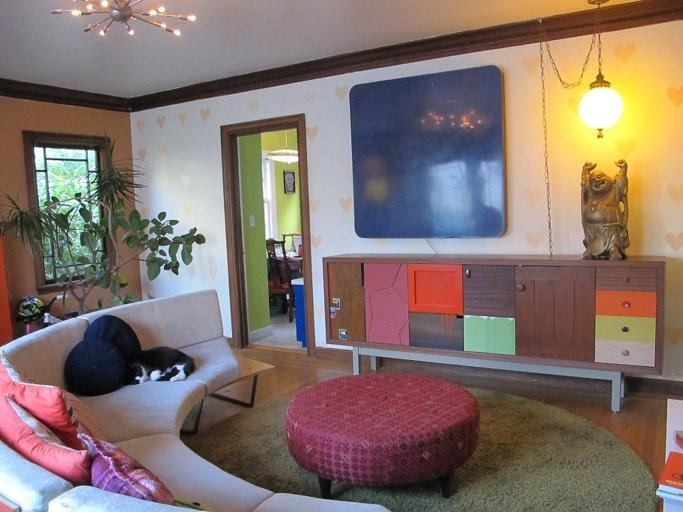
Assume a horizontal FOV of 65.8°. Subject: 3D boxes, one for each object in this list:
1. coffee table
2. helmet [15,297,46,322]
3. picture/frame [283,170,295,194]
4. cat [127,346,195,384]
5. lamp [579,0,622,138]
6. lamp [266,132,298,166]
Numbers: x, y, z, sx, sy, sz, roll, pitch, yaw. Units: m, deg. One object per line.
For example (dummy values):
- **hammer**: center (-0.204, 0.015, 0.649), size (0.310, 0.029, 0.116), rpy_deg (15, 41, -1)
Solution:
- **coffee table**: center (0.241, 1.099, 3.173), size (1.120, 0.475, 0.742), rpy_deg (-4, 14, -7)
- **helmet**: center (-3.006, 0.486, 5.110), size (0.195, 0.244, 0.254), rpy_deg (2, 14, 10)
- **picture/frame**: center (-0.924, -1.314, 9.303), size (0.047, 0.482, 0.432), rpy_deg (-3, 1, 20)
- **cat**: center (-1.234, 0.740, 3.595), size (0.304, 0.113, 0.221), rpy_deg (6, 2, 14)
- **lamp**: center (1.949, -1.372, 3.918), size (0.291, 0.977, 0.333), rpy_deg (5, 15, 28)
- **lamp**: center (-0.991, -1.774, 8.766), size (0.509, 0.557, 1.453), rpy_deg (-4, 14, -6)
